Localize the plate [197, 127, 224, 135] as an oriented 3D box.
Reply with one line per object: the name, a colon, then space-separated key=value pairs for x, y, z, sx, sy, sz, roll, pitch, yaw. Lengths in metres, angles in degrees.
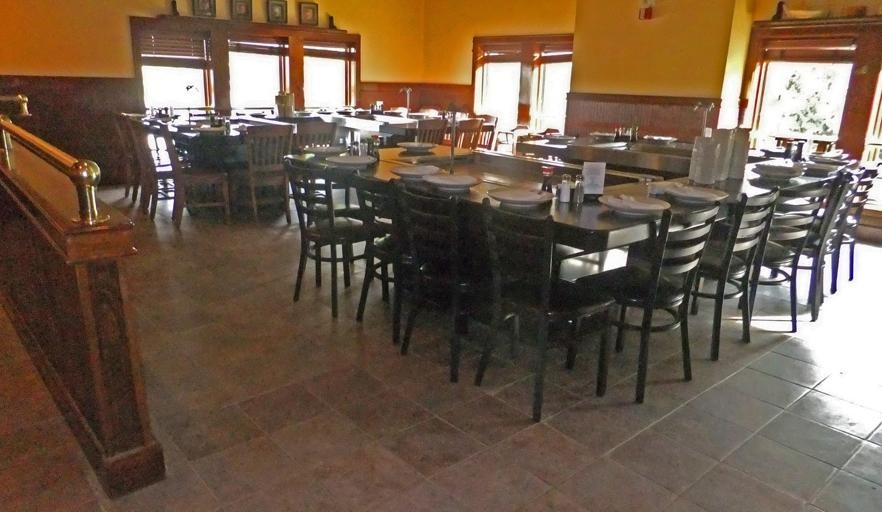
plate: x=-2.743 y=-1.483 z=7.264 sx=0.160 sy=0.042 sz=0.163 roll=7 pitch=9 yaw=44

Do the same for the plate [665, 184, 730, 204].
plate: x=1.921 y=-0.461 z=4.609 sx=0.450 sy=0.110 sz=0.284 roll=6 pitch=19 yaw=21

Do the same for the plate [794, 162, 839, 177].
plate: x=3.480 y=-0.786 z=5.665 sx=0.346 sy=0.107 sz=0.274 roll=1 pitch=3 yaw=35

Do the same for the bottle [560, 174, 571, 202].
bottle: x=0.906 y=-0.486 z=4.477 sx=0.078 sy=0.185 sz=0.122 roll=2 pitch=21 yaw=10

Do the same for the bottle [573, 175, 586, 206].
bottle: x=1.018 y=-0.485 z=4.483 sx=0.073 sy=0.191 sz=0.159 roll=6 pitch=21 yaw=20

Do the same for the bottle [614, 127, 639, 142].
bottle: x=2.320 y=-1.476 z=7.448 sx=0.356 sy=0.149 sz=0.488 roll=10 pitch=18 yaw=42

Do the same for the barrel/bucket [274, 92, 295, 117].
barrel/bucket: x=-2.141 y=-2.077 z=8.430 sx=0.374 sy=0.391 sz=0.335 roll=-5 pitch=18 yaw=-13

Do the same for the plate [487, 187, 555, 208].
plate: x=0.579 y=-0.418 z=4.459 sx=0.476 sy=0.099 sz=0.273 roll=1 pitch=18 yaw=7

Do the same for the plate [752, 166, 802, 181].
plate: x=2.890 y=-0.722 z=5.274 sx=0.235 sy=0.052 sz=0.209 roll=-7 pitch=20 yaw=-26

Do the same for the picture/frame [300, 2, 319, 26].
picture/frame: x=-2.278 y=-4.148 z=10.489 sx=0.431 sy=0.358 sz=0.058 roll=-27 pitch=38 yaw=-35

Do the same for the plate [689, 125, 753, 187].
plate: x=2.329 y=-0.829 z=5.088 sx=0.644 sy=0.534 sz=0.416 roll=-10 pitch=19 yaw=-23
